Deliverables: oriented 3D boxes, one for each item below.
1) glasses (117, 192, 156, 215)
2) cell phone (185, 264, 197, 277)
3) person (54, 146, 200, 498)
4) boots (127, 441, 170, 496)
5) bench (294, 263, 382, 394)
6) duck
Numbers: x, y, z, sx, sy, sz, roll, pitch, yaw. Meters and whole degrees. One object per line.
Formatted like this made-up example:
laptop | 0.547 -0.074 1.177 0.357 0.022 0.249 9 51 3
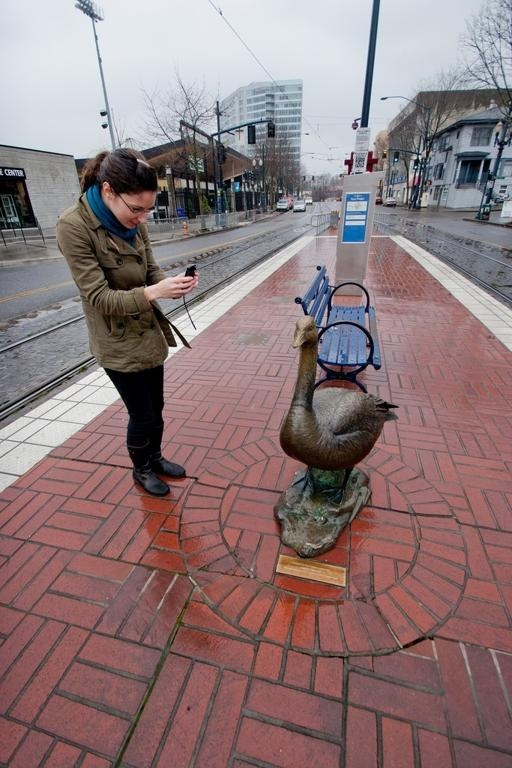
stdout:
glasses | -0.612 -0.935 2.021 0.119 0.127 0.036 -27 2 -38
cell phone | -0.348 -0.641 2.220 0.066 0.037 0.102 4 33 -16
person | -0.685 -0.182 2.416 0.600 2.150 0.692 -25 34 -37
boots | -0.755 0.622 2.871 0.338 0.349 0.154 19 28 30
bench | 1.067 -0.958 5.775 0.715 0.836 1.888 11 -4 0
duck | 0.457 0.048 2.269 0.441 0.872 0.789 16 33 33
